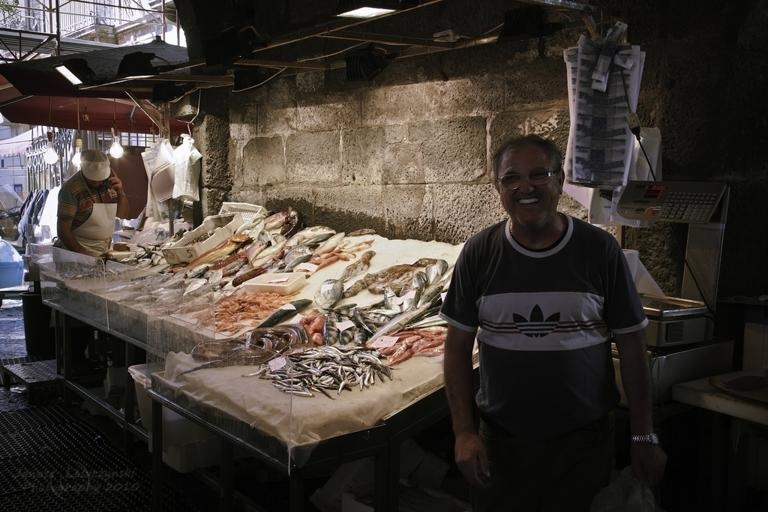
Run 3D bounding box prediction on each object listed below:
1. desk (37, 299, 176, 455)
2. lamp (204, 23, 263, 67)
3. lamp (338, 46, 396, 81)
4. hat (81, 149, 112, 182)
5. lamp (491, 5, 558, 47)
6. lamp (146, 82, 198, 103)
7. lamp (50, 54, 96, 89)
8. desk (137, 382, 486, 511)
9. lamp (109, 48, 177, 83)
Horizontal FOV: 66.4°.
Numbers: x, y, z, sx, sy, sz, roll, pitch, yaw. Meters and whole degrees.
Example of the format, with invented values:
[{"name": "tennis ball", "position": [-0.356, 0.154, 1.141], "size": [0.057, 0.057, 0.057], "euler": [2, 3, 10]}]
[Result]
[{"name": "desk", "position": [-2.768, 1.270, 6.224], "size": [1.279, 1.178, 2.420], "euler": [0, 5, -45]}, {"name": "lamp", "position": [-1.390, -1.912, 5.317], "size": [0.755, 0.270, 0.191], "euler": [9, 15, 43]}, {"name": "lamp", "position": [-0.219, -2.216, 6.797], "size": [0.318, 0.216, 0.444], "euler": [10, 35, 42]}, {"name": "hat", "position": [-3.733, -1.155, 7.532], "size": [0.354, 0.403, 0.507], "euler": [-6, 12, -24]}, {"name": "lamp", "position": [1.371, -2.202, 5.507], "size": [0.579, 0.294, 0.135], "euler": [1, 11, 12]}, {"name": "lamp", "position": [-3.111, -2.432, 8.663], "size": [0.630, 0.229, 0.466], "euler": [-5, 11, -18]}, {"name": "lamp", "position": [-3.836, -2.270, 7.219], "size": [0.589, 0.336, 0.274], "euler": [9, 15, 43]}, {"name": "desk", "position": [-0.370, 1.091, 3.887], "size": [1.338, 0.799, 1.230], "euler": [-4, 5, -42]}, {"name": "lamp", "position": [-2.893, -2.252, 6.905], "size": [0.404, 0.188, 0.537], "euler": [1, 5, 41]}]
